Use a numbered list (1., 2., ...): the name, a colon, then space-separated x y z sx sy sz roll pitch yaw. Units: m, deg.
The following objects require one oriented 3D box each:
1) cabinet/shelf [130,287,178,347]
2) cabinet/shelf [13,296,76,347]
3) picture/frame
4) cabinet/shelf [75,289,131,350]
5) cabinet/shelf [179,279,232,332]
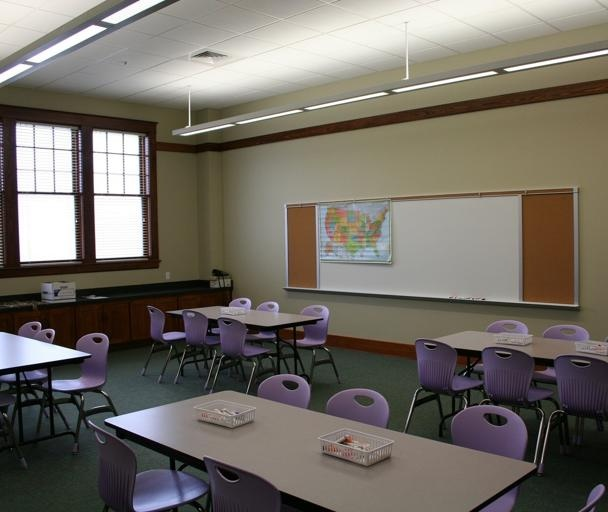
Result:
1. cabinet/shelf: -2.569 1.078 7.448 0.489 0.919 0.928 6 6 42
2. cabinet/shelf: -4.195 0.910 7.191 0.622 0.979 0.989 5 6 43
3. picture/frame: 0.873 -0.413 7.300 1.124 0.838 0.045 2 4 37
4. cabinet/shelf: -3.528 0.975 7.736 0.667 1.070 1.117 -1 -1 42
5. cabinet/shelf: -2.005 1.020 8.718 0.452 0.552 0.846 5 5 44
